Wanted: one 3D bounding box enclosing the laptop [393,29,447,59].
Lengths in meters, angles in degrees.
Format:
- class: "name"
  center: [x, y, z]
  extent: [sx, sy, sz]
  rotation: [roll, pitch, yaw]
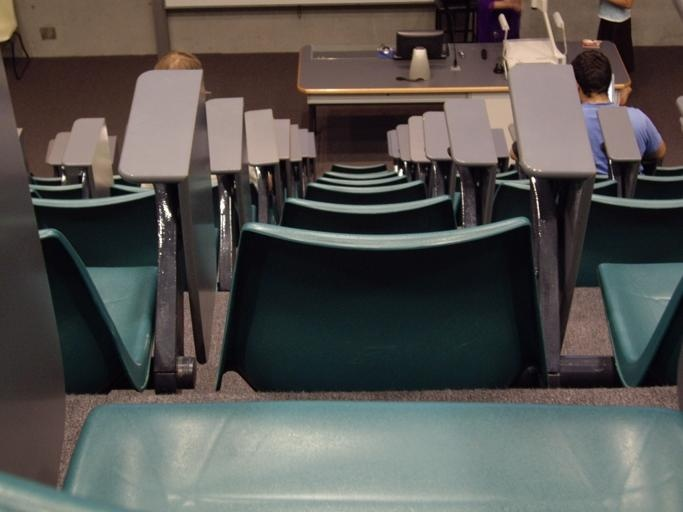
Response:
- class: "laptop"
  center: [0.969, -2.585, 6.975]
  extent: [0.457, 0.328, 0.366]
  rotation: [1, 46, 3]
